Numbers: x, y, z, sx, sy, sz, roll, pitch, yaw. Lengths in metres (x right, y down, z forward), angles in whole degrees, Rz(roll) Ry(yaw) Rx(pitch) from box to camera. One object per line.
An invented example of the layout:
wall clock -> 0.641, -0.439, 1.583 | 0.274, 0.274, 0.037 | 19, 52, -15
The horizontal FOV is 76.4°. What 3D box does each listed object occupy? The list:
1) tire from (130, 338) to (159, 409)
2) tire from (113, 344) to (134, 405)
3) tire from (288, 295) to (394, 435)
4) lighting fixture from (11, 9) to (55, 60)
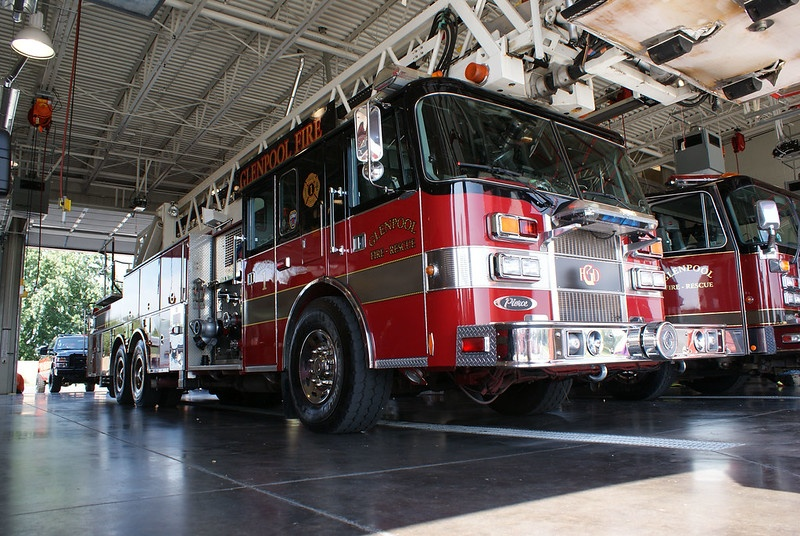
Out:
tire -> -4.752, 1.987, 9.485 | 0.398, 1.134, 1.168 | 4, 16, -32
tire -> -5.625, 2.173, 10.348 | 0.468, 1.208, 1.251 | -1, 9, -28
tire -> -0.619, 1.027, 5.398 | 0.536, 1.404, 1.463 | 2, -11, -39
lighting fixture -> -6.068, -3.851, 8.448 | 0.677, 0.837, 0.665 | -17, 20, -37
